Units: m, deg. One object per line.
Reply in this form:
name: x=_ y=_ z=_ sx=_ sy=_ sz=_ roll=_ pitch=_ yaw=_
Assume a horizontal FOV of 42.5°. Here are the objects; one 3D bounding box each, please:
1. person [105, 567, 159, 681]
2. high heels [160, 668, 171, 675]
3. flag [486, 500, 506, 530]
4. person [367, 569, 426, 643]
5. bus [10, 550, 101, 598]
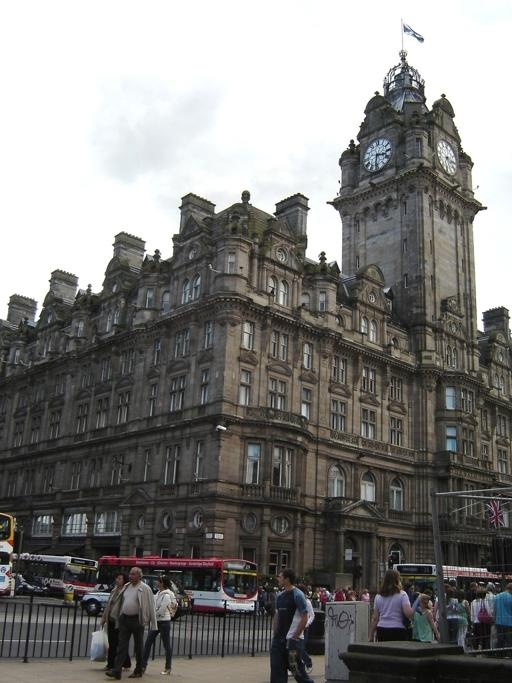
person: x=-2.311 y=5.354 z=12.573 sx=0.862 sy=1.966 sz=1.261 roll=4 pitch=-19 yaw=-7
high heels: x=-1.749 y=6.609 z=13.198 sx=0.095 sy=0.125 sz=0.284 roll=-23 pitch=-38 yaw=31
flag: x=4.190 y=3.046 z=11.553 sx=0.469 sy=0.612 sz=0.039 roll=29 pitch=-44 yaw=-14
person: x=2.106 y=4.153 z=10.362 sx=0.666 sy=1.072 sz=0.914 roll=-2 pitch=-19 yaw=10
bus: x=-13.059 y=15.683 z=44.825 sx=9.911 sy=3.057 sz=3.254 roll=-18 pitch=-32 yaw=38
